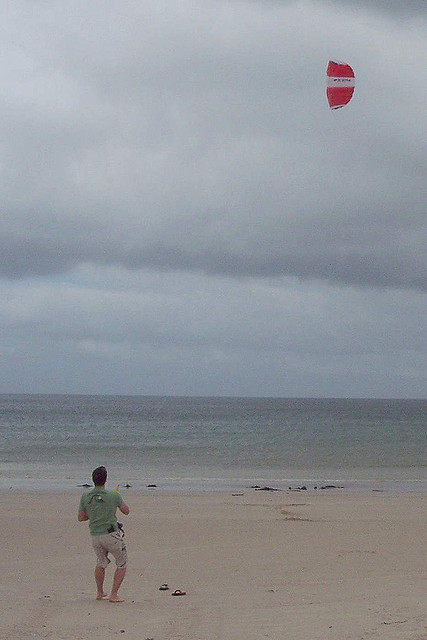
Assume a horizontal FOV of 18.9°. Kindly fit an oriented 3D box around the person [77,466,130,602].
[{"bbox_3d":[-1.540,2.953,17.708,0.673,1.842,1.104,-1,-6,-6],"label":"person"}]

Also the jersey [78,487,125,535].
[{"bbox_3d":[-1.554,2.609,17.545,0.604,0.624,0.290,-1,-6,-4],"label":"jersey"}]

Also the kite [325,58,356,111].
[{"bbox_3d":[2.926,-5.427,29.926,0.612,1.423,1.718,-2,-6,5],"label":"kite"}]

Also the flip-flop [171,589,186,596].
[{"bbox_3d":[-0.534,3.906,18.417,0.211,0.091,0.064,-1,2,-17],"label":"flip-flop"}]
